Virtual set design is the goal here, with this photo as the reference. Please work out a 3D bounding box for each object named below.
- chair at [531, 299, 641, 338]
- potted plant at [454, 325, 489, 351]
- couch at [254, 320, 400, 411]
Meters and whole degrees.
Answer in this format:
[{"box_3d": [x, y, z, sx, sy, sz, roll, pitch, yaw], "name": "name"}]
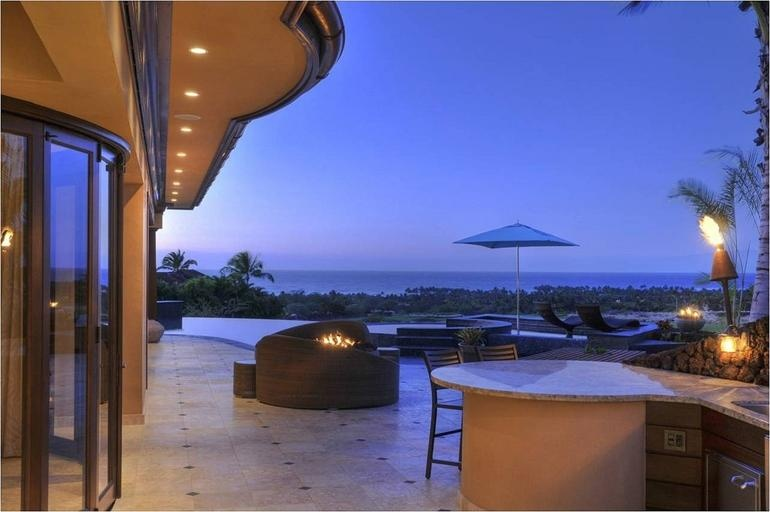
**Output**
[{"box_3d": [4.466, 1.390, 11.519, 1.195, 0.659, 1.641, -5, 0, 42], "name": "chair"}, {"box_3d": [1.974, 1.820, 11.974, 0.974, 0.650, 0.964, 1, -8, -4], "name": "potted plant"}, {"box_3d": [-0.909, 1.818, 8.439, 2.205, 1.252, 0.795, -3, -8, -13], "name": "couch"}]
